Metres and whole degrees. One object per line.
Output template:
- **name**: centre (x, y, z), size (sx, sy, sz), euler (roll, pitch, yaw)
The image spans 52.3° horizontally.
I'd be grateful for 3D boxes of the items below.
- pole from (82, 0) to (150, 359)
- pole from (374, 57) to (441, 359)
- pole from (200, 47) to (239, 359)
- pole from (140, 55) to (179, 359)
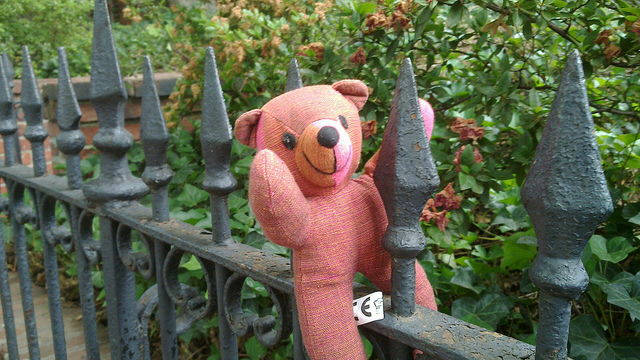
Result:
- **pole**: centre (-1.080, 0.014, 3.432), size (0.327, 1.909, 0.379), euler (-7, 13, -18)
- **pole**: centre (0.382, 0.041, 2.916), size (0.238, 1.161, 0.182), euler (-9, 14, -26)
- **pole**: centre (-0.484, 0.125, 3.187), size (0.166, 1.533, 0.343), euler (-5, 12, -8)
- **pole**: centre (-0.818, 0.151, 3.333), size (0.151, 1.569, 0.348), euler (-5, 12, -7)
